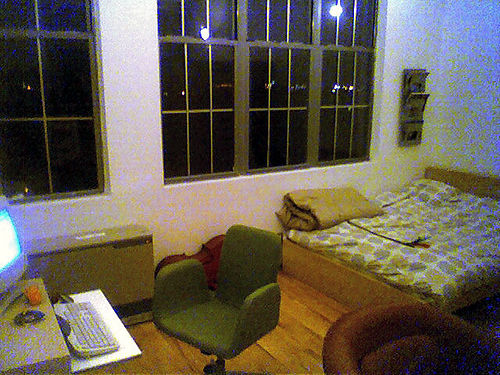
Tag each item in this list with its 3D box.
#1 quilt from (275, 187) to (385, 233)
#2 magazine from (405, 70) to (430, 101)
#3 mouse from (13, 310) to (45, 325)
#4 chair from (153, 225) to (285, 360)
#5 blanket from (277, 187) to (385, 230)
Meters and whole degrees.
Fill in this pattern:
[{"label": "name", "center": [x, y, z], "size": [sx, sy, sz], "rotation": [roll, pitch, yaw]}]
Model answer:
[{"label": "quilt", "center": [0.846, 0.194, 3.822], "size": [0.783, 0.257, 0.598], "rotation": [-6, 21, -26]}, {"label": "magazine", "center": [2.077, -1.270, 4.538], "size": [0.305, 0.452, 0.317], "rotation": [3, 6, 25]}, {"label": "mouse", "center": [-1.127, 0.653, 1.823], "size": [0.060, 0.023, 0.071], "rotation": [6, 8, 5]}, {"label": "chair", "center": [-0.170, 0.611, 2.236], "size": [0.688, 0.615, 0.586], "rotation": [9, 16, 33]}, {"label": "blanket", "center": [0.933, 0.248, 3.960], "size": [0.971, 0.330, 0.757], "rotation": [-3, 18, -26]}]
